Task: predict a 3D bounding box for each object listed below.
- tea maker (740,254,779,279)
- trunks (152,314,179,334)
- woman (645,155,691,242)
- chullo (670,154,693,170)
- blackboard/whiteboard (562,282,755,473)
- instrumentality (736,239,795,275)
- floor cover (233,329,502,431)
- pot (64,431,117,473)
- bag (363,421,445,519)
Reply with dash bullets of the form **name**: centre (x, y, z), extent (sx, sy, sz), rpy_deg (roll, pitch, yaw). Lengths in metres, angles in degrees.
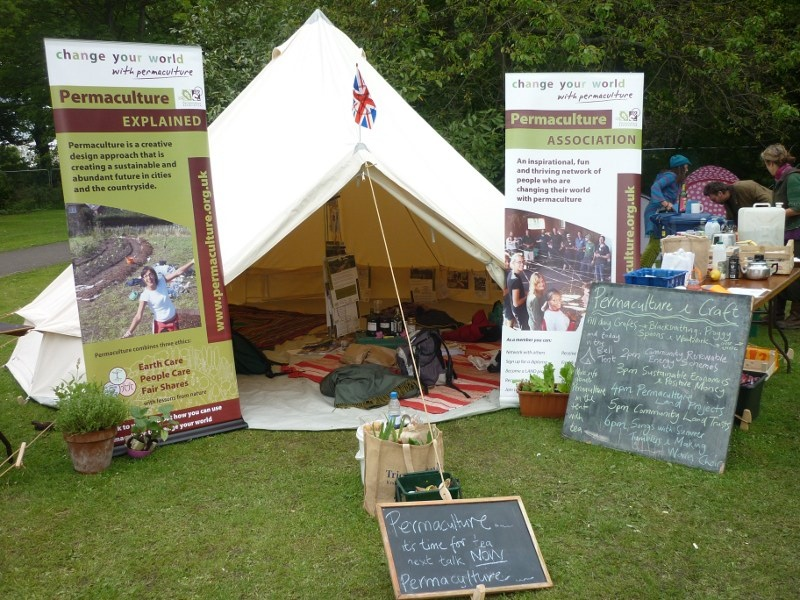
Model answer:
- **tea maker**: centre (3.425, -0.316, 5.914), extent (0.295, 0.190, 0.205), rpy_deg (-1, 4, -20)
- **trunks**: centre (-1.976, 0.208, 5.243), extent (0.245, 0.209, 0.139), rpy_deg (-1, 4, -28)
- **woman**: centre (3.951, -1.331, 9.227), extent (0.538, 1.482, 0.597), rpy_deg (8, 15, 42)
- **chullo**: centre (4.129, -2.031, 9.114), extent (0.218, 0.198, 0.495), rpy_deg (7, 14, 21)
- **blackboard/whiteboard**: centre (2.073, 0.651, 4.906), extent (1.385, 1.451, 0.124), rpy_deg (9, -13, 25)
- **instrumentality**: centre (3.656, -0.437, 6.134), extent (0.431, 0.247, 0.399), rpy_deg (5, 16, 30)
- **floor cover**: centre (-0.346, 0.858, 6.181), extent (2.600, 0.271, 1.679), rpy_deg (0, 13, -8)
- **pot**: centre (-2.382, 1.142, 4.832), extent (0.354, 0.263, 0.349), rpy_deg (1, -1, 0)
- **bag**: centre (-0.022, 1.089, 4.201), extent (0.657, 0.591, 0.484), rpy_deg (-2, 9, -12)
